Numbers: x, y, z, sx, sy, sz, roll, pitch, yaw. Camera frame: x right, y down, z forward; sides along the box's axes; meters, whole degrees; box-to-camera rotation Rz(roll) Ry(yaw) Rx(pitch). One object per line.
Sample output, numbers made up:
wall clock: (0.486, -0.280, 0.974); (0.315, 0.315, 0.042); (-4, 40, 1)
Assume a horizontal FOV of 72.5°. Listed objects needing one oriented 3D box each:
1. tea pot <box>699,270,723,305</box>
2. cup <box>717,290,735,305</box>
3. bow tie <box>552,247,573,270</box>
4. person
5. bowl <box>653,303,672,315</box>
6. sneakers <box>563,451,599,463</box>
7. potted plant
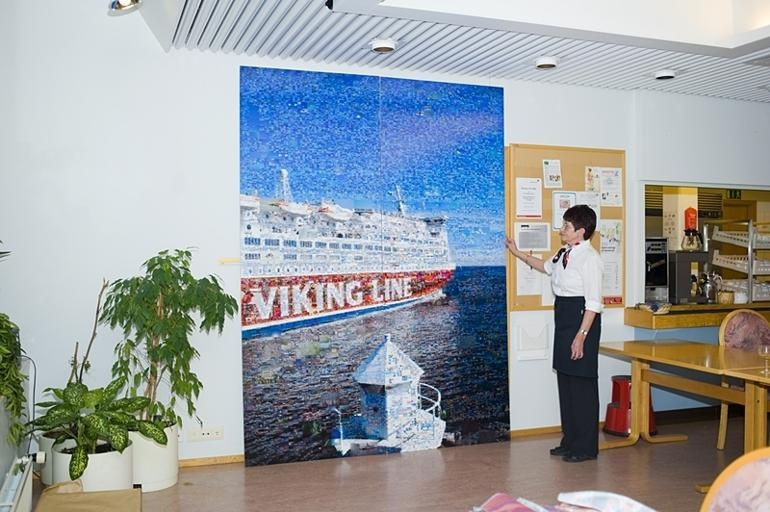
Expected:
tea pot: (4.296, 0.401, 6.897); (0.226, 0.374, 0.571); (3, 4, 44)
cup: (4.385, 0.528, 6.738); (0.173, 0.166, 0.181); (4, -3, 0)
bow tie: (1.878, 0.022, 5.482); (0.062, 0.192, 0.197); (21, -1, -21)
person: (1.899, 0.765, 5.481); (0.700, 2.586, 0.477); (3, 4, 39)
bowl: (3.259, 0.610, 6.164); (0.151, 0.067, 0.143); (0, 2, 0)
sneakers: (1.976, 2.032, 5.305); (0.341, 0.115, 0.120); (4, -5, -1)
potted plant: (-2.149, 1.020, 4.683); (1.568, 2.136, 1.342); (-2, 4, -24)
